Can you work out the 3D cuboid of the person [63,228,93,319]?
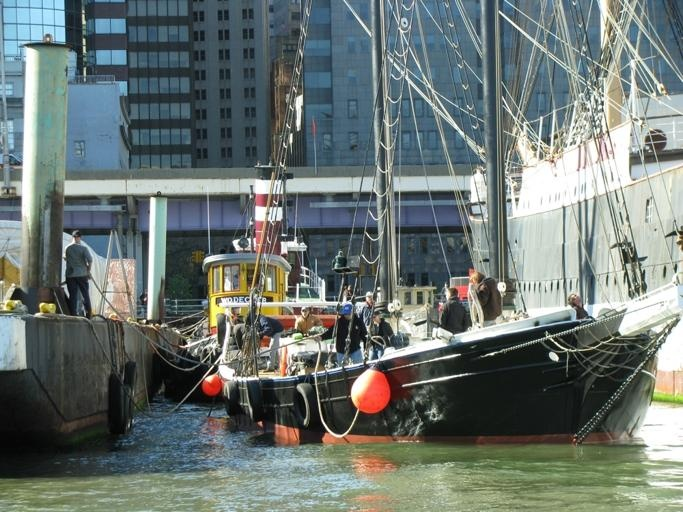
[{"bbox_3d":[-8.496,0.575,47.441,0.840,2.779,1.037,-3,6,-10],"label":"person"}]

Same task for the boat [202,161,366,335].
[{"bbox_3d":[-2.679,-0.709,54.993,5.728,6.120,10.187,0,-3,-14],"label":"boat"}]

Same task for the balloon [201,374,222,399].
[{"bbox_3d":[-4.473,4.729,51.355,0.691,1.140,0.816,1,6,2],"label":"balloon"}]

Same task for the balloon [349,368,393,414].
[{"bbox_3d":[0.888,4.055,44.896,0.966,1.442,1.195,9,-7,-18],"label":"balloon"}]

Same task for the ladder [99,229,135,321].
[{"bbox_3d":[-9.275,1.043,60.904,1.418,4.043,1.407,-7,-7,23],"label":"ladder"}]
